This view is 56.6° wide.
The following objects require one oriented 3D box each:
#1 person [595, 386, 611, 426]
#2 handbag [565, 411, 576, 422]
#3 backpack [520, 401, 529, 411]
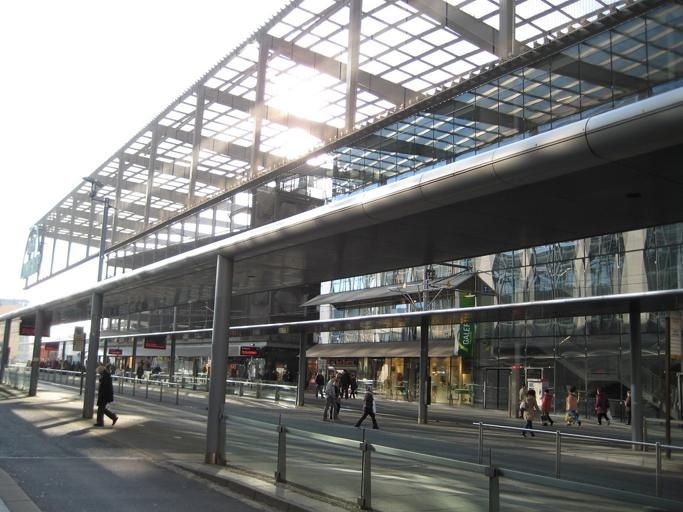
[{"bbox_3d":[11.562,6.769,28.237,0.468,1.536,1.148,-4,-11,20],"label":"person"},{"bbox_3d":[9.913,7.038,27.570,0.358,0.200,0.501,2,-7,12],"label":"handbag"},{"bbox_3d":[6.367,5.294,22.217,0.286,0.254,0.276,-1,-3,-1],"label":"backpack"}]
